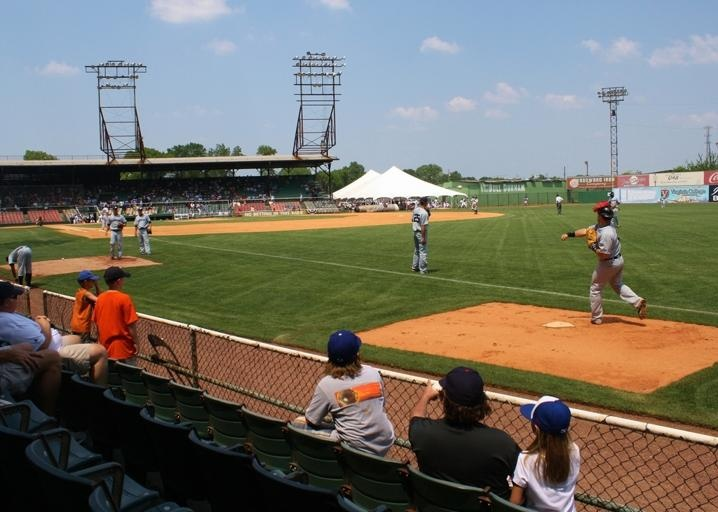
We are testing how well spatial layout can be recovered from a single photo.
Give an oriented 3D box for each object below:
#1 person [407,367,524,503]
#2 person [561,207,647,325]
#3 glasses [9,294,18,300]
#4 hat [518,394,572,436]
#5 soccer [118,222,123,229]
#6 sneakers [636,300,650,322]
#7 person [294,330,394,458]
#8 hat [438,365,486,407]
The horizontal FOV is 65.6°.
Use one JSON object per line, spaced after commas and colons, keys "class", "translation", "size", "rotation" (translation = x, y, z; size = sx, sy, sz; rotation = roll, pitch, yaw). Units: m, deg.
{"class": "person", "translation": [0.791, 1.320, 4.289], "size": [0.826, 0.827, 0.389], "rotation": [-1, 10, 12]}
{"class": "person", "translation": [4.586, 0.106, 10.431], "size": [1.039, 2.244, 1.093], "rotation": [0, 10, 14]}
{"class": "glasses", "translation": [-3.780, 0.429, 6.102], "size": [0.072, 0.023, 0.095], "rotation": [-1, 2, -22]}
{"class": "hat", "translation": [1.431, 1.130, 4.248], "size": [0.290, 0.201, 0.406], "rotation": [-12, 21, -30]}
{"class": "soccer", "translation": [-8.323, -1.121, 19.535], "size": [0.205, 0.112, 0.186], "rotation": [-6, -37, -27]}
{"class": "sneakers", "translation": [5.072, 0.891, 10.051], "size": [0.250, 0.507, 0.277], "rotation": [-1, 5, 18]}
{"class": "person", "translation": [-0.230, 1.159, 5.364], "size": [0.754, 1.022, 1.260], "rotation": [-4, 18, -24]}
{"class": "hat", "translation": [0.822, 0.957, 4.437], "size": [0.303, 0.199, 0.386], "rotation": [-16, 24, -27]}
